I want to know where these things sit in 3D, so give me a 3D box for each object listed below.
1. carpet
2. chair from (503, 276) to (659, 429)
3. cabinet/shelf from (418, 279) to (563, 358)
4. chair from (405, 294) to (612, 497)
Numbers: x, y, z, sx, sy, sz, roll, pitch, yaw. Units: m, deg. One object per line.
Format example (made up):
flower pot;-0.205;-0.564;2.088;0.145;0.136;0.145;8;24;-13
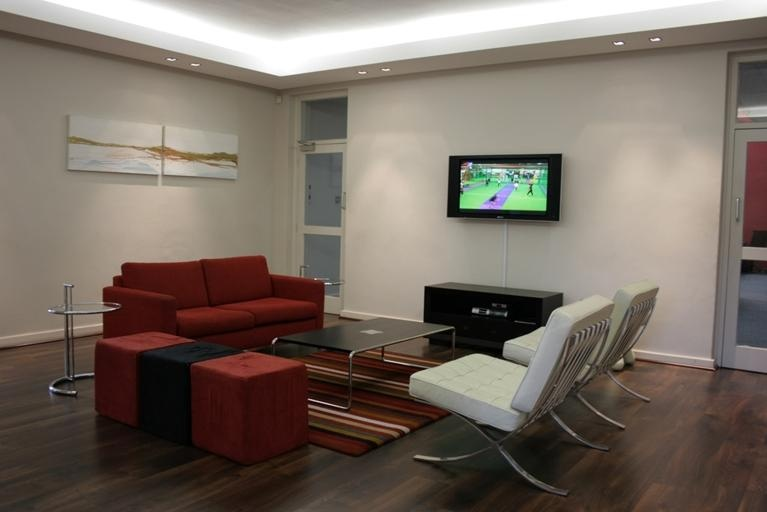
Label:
carpet;-0.338;1.290;5.050;1.469;0.056;1.595;11;18;26
chair;1.667;0.792;5.110;1.590;1.280;1.123;4;7;41
cabinet/shelf;1.410;0.807;6.678;1.720;0.755;0.697;2;3;41
chair;0.999;0.920;4.019;1.331;1.255;1.089;1;4;30
